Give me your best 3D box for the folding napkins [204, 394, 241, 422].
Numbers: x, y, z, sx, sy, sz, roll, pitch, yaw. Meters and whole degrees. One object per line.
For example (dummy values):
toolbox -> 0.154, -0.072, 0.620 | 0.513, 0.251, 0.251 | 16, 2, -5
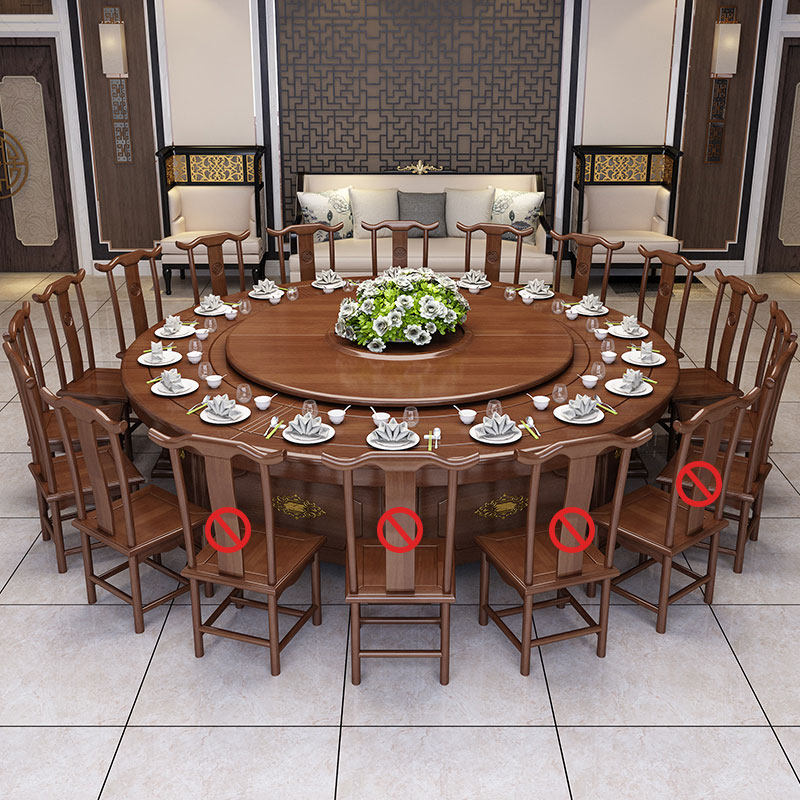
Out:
folding napkins -> -0.704, 0.025, 2.532 | 0.110, 0.053, 0.110 | -2, 17, -11

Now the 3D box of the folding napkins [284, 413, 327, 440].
folding napkins -> -0.359, 0.091, 2.381 | 0.118, 0.048, 0.106 | 1, 19, 3

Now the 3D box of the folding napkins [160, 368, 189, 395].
folding napkins -> -0.989, -0.088, 2.818 | 0.085, 0.045, 0.120 | -7, 35, -12

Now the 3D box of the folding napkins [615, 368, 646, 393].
folding napkins -> 1.009, -0.093, 2.888 | 0.083, 0.057, 0.132 | 9, 30, 23

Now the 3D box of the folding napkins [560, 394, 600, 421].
folding napkins -> 0.710, 0.010, 2.567 | 0.131, 0.046, 0.116 | -2, 17, 1

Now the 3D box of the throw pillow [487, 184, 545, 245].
throw pillow -> 1.224, -1.916, 6.745 | 0.603, 0.427, 0.310 | 20, 14, 35

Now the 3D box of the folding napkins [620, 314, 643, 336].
folding napkins -> 1.271, -0.410, 3.565 | 0.119, 0.051, 0.121 | 4, 24, 6

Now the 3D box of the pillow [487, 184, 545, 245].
pillow -> 1.153, -1.885, 6.787 | 0.528, 0.640, 0.802 | -9, 24, -24

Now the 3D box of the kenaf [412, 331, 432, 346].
kenaf -> 0.108, -0.305, 3.211 | 0.080, 0.069, 0.032 | 1, 7, -2

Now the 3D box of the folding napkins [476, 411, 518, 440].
folding napkins -> 0.344, 0.084, 2.387 | 0.121, 0.041, 0.110 | 9, 24, 28

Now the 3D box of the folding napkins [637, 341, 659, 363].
folding napkins -> 1.210, -0.222, 3.200 | 0.090, 0.129, 0.078 | -3, -13, 11
